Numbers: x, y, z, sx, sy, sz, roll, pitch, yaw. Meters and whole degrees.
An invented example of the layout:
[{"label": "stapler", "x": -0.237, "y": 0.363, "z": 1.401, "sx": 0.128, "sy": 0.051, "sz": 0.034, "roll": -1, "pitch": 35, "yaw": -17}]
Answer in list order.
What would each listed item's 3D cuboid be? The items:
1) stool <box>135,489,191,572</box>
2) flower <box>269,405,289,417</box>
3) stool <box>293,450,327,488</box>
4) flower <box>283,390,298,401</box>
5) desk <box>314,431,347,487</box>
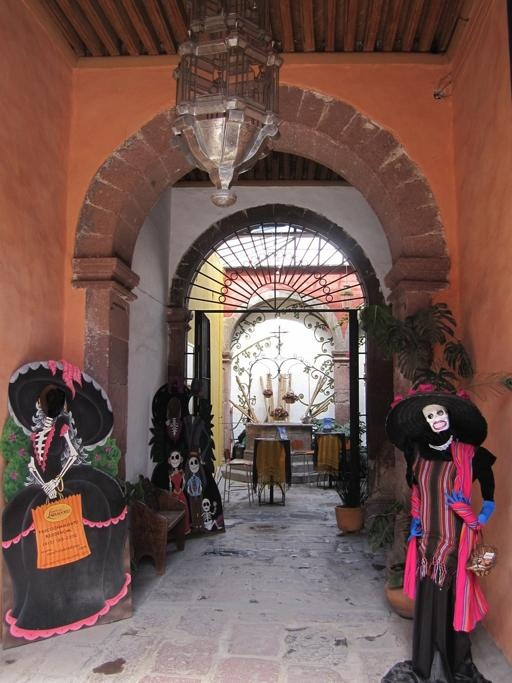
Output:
[{"label": "stool", "x": -0.753, "y": 1.513, "z": 4.136, "sx": 0.286, "sy": 0.533, "sz": 0.734, "roll": -1, "pitch": -2, "yaw": 1}, {"label": "flower", "x": 0.519, "y": 1.488, "z": 10.755, "sx": 0.314, "sy": 0.217, "sz": 0.314, "roll": 7, "pitch": -8, "yaw": -25}, {"label": "stool", "x": 0.957, "y": 2.351, "z": 9.583, "sx": 0.540, "sy": 0.512, "sz": 0.529, "roll": 0, "pitch": -15, "yaw": -3}, {"label": "flower", "x": 0.767, "y": 1.277, "z": 11.774, "sx": 0.307, "sy": 0.255, "sz": 0.309, "roll": 2, "pitch": -10, "yaw": -3}, {"label": "desk", "x": 1.210, "y": 1.912, "z": 8.617, "sx": 0.583, "sy": 0.877, "sz": 0.595, "roll": 6, "pitch": -4, "yaw": -16}]
